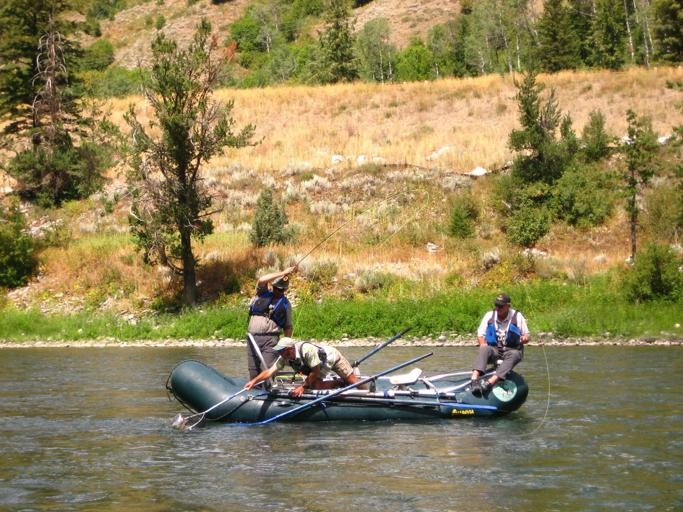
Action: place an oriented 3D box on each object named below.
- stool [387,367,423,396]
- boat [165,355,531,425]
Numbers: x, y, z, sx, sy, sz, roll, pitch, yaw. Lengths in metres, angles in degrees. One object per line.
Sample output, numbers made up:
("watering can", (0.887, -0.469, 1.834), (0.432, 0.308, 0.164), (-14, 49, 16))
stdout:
("stool", (2.387, 4.677, 50.475), (1.048, 0.816, 0.885), (-8, 27, -1))
("boat", (0.204, 5.521, 51.443), (12.633, 2.980, 4.939), (0, -5, -3))
